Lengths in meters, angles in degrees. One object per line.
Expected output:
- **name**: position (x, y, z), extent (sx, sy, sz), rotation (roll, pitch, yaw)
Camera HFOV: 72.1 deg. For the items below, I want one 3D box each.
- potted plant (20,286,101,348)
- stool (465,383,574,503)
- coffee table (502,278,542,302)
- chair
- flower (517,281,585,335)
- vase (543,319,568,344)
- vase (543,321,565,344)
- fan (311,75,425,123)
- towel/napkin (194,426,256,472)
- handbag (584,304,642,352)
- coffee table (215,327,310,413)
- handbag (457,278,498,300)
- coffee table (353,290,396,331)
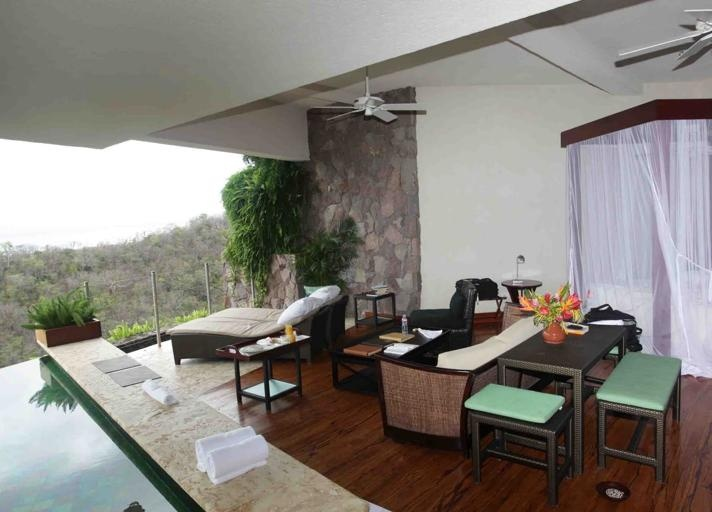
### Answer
- **potted plant**: position (-4.216, 1.000, 7.106), extent (0.857, 0.608, 0.805), rotation (-16, -5, 32)
- **stool**: position (1.454, 1.570, 4.390), extent (0.901, 0.769, 0.698), rotation (5, 15, 26)
- **coffee table**: position (2.772, 0.509, 8.196), extent (0.679, 0.469, 0.678), rotation (1, 3, 8)
- **chair**: position (1.337, 0.910, 7.514), extent (0.889, 1.024, 1.086), rotation (0, 4, -2)
- **flower**: position (1.975, 0.487, 4.877), extent (0.411, 0.288, 0.476), rotation (0, 8, 11)
- **vase**: position (1.939, 0.730, 4.818), extent (0.211, 0.202, 0.212), rotation (3, 5, 11)
- **vase**: position (1.932, 0.744, 4.829), extent (0.204, 0.186, 0.199), rotation (0, 4, -18)
- **fan**: position (0.034, -2.041, 6.279), extent (1.217, 0.440, 1.305), rotation (1, 12, 23)
- **towel/napkin**: position (-1.035, 1.453, 3.858), extent (0.358, 0.140, 0.341), rotation (-5, 2, -36)
- **handbag**: position (3.263, 0.877, 6.180), extent (0.647, 0.262, 0.645), rotation (-5, 33, 28)
- **coffee table**: position (-1.047, 1.342, 6.042), extent (0.876, 0.731, 0.999), rotation (11, 17, 41)
- **handbag**: position (2.171, 0.560, 8.472), extent (0.426, 0.290, 0.595), rotation (0, 0, -22)
- **coffee table**: position (0.399, 0.986, 8.731), extent (0.723, 0.590, 0.541), rotation (-2, 2, -45)
